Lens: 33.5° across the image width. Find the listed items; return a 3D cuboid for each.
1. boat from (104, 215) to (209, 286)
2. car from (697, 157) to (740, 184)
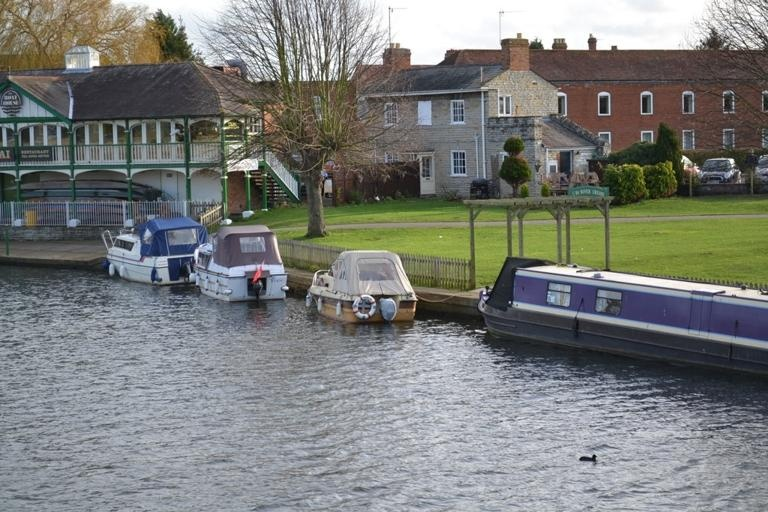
[{"bbox_3d":[-11.800,-0.278,63.949,6.147,3.203,2.905,2,5,32],"label":"boat"},{"bbox_3d":[23.216,-5.687,85.141,2.616,1.542,3.952,1,4,14],"label":"car"}]
